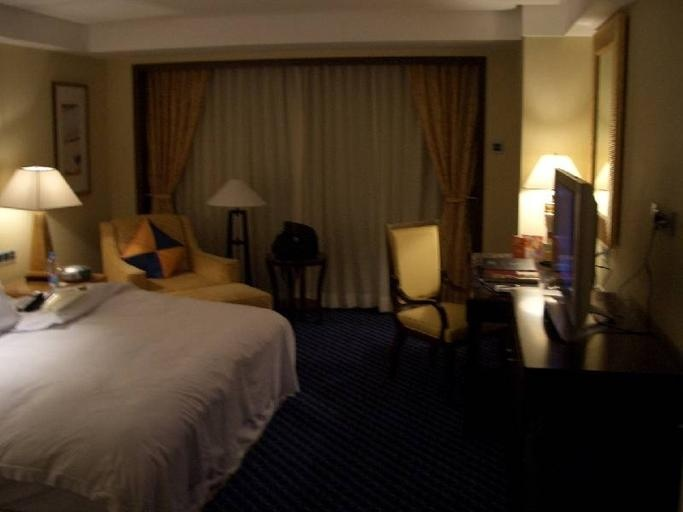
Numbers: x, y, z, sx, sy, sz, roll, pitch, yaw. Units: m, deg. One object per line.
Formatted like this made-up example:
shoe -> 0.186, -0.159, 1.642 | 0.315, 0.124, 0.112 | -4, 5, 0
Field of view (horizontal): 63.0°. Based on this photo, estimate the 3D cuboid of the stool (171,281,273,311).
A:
stool -> -0.946, 0.347, 4.872 | 0.412, 0.169, 0.390 | 3, 4, 44

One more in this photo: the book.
book -> 1.498, -0.113, 4.647 | 0.358, 0.660, 0.673 | 1, 4, 9

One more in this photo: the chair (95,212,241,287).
chair -> -1.724, -0.173, 5.695 | 0.886, 1.228, 1.083 | -4, 4, -35

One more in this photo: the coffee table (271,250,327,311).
coffee table -> -0.496, 0.303, 6.100 | 0.622, 0.664, 0.656 | 2, 6, 8
